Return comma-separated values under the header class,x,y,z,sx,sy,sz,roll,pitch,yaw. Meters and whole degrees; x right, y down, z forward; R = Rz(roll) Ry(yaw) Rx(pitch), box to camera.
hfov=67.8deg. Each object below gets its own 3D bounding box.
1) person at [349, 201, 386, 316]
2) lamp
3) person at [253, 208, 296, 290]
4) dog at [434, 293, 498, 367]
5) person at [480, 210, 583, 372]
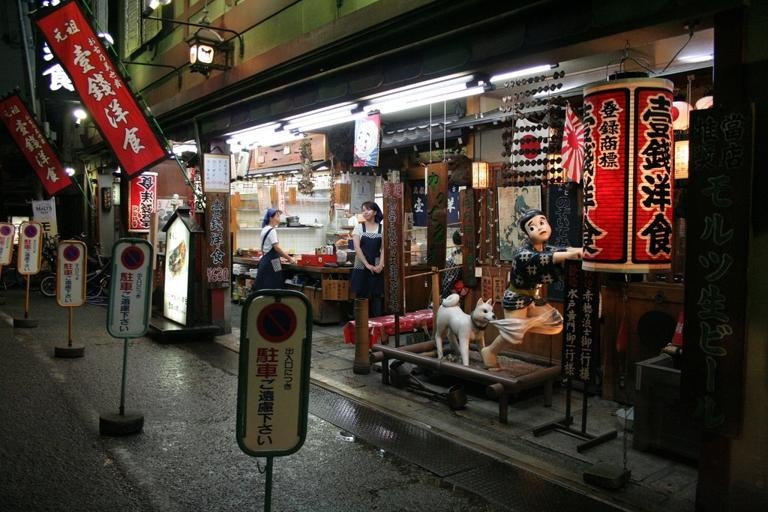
class,x,y,z,sx,sy,sz,roll,pitch,yaw
person,-0.365,0.123,13.262,0.709,2.669,0.548,0,10,-3
lamp,-3.668,-4.445,12.097,0.889,1.302,0.646,-1,13,-27
person,-2.493,-0.110,12.900,0.830,1.775,0.709,-8,13,-40
dog,1.371,1.225,9.726,0.508,1.113,1.591,2,2,-29
person,2.254,0.600,8.840,1.354,2.510,0.674,5,11,26
